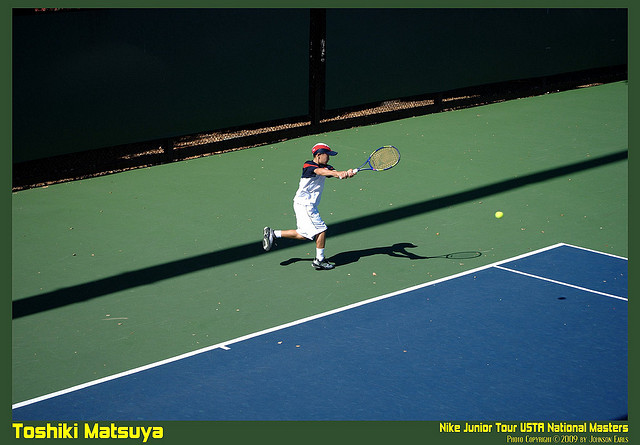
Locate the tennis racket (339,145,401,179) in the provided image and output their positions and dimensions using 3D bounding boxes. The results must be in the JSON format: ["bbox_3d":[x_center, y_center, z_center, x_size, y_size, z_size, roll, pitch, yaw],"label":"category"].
[{"bbox_3d":[0.787,-0.884,9.621,1.055,0.397,0.050,-28,-7,-9],"label":"tennis racket"}]
